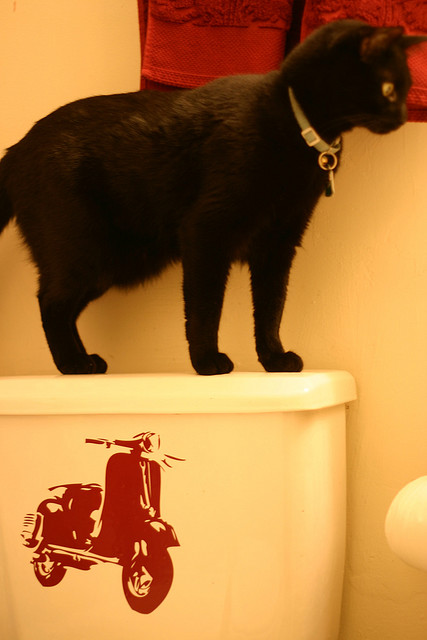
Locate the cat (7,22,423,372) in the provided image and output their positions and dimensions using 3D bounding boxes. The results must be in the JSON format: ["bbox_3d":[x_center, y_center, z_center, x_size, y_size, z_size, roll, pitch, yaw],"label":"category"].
[{"bbox_3d":[-0.097,-0.135,1.054,0.911,0.456,0.215,-4,-5,30],"label":"cat"}]

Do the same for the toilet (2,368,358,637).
[{"bbox_3d":[-0.013,0.155,0.834,0.420,0.346,0.274,1,3,15],"label":"toilet"}]

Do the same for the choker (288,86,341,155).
[{"bbox_3d":[0.108,-0.215,0.771,0.021,0.071,0.054,-38,-1,13],"label":"choker"}]

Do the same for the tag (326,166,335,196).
[{"bbox_3d":[0.135,-0.159,0.791,0.008,0.030,0.023,2,21,11],"label":"tag"}]
